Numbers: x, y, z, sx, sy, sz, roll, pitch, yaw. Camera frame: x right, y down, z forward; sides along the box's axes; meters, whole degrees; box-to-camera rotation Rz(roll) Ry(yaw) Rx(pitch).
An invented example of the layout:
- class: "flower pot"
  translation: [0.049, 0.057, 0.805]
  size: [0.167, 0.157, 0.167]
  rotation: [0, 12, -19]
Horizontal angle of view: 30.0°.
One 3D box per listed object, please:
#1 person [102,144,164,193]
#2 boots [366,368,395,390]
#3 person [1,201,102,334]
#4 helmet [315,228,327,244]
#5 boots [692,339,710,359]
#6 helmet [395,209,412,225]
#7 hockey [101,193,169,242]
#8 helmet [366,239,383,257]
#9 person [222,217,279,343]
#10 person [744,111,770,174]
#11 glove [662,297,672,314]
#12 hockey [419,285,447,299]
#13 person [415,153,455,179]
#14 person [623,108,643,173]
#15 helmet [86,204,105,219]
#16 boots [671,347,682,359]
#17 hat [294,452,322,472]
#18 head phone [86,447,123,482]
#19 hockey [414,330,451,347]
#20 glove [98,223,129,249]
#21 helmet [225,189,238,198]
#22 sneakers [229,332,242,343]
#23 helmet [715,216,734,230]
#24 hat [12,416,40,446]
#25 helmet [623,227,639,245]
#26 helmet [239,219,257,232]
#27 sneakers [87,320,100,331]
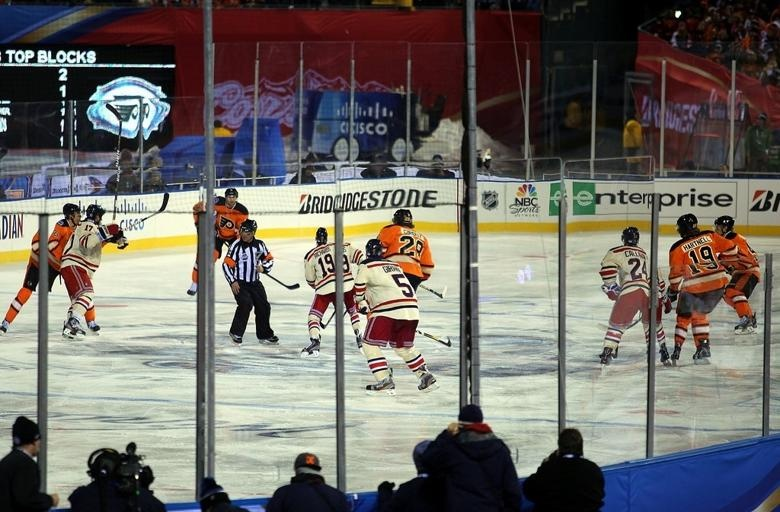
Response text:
- class: "person"
  translation: [-3.785, -1.230, 21.101]
  size: [1.082, 0.850, 0.242]
  rotation: [-2, -10, -3]
- class: "boots"
  translation: [-0.100, 1.495, 17.163]
  size: [0.199, 0.258, 0.452]
  rotation: [0, -2, 32]
- class: "person"
  translation: [-3.827, 0.153, 16.283]
  size: [0.854, 1.489, 0.869]
  rotation: [2, -2, -39]
- class: "helmet"
  translation: [-0.829, -0.221, 17.056]
  size: [0.150, 0.174, 0.188]
  rotation: [2, 7, -1]
- class: "boots"
  translation: [3.867, 1.185, 18.055]
  size: [0.212, 0.231, 0.226]
  rotation: [0, -2, 12]
- class: "helmet"
  translation: [0.139, -0.476, 18.376]
  size: [0.191, 0.196, 0.227]
  rotation: [-2, 14, -18]
- class: "hockey"
  translation: [-2.973, -0.406, 16.630]
  size: [0.669, 0.144, 0.593]
  rotation: [-4, 16, -10]
- class: "helmet"
  translation: [-0.219, -0.084, 17.611]
  size: [0.200, 0.200, 0.217]
  rotation: [2, 14, 5]
- class: "person"
  translation: [-1.639, 0.304, 16.891]
  size: [0.661, 1.449, 0.787]
  rotation: [1, -2, -5]
- class: "person"
  translation: [6.185, -1.888, 24.545]
  size: [0.483, 0.950, 0.126]
  rotation: [1, -2, -13]
- class: "glove"
  translation: [3.393, 0.617, 17.841]
  size: [0.153, 0.180, 0.071]
  rotation: [-2, 4, -12]
- class: "hockey"
  translation: [0.534, 0.470, 18.632]
  size: [0.253, 0.060, 0.244]
  rotation: [23, 8, 26]
- class: "person"
  translation: [0.699, -1.451, 23.458]
  size: [0.384, 0.406, 0.841]
  rotation: [-1, -2, 38]
- class: "person"
  translation: [4.108, -1.918, 24.673]
  size: [0.339, 1.181, 1.259]
  rotation: [0, -2, 9]
- class: "helmet"
  translation: [-3.438, -0.508, 16.731]
  size: [0.215, 0.141, 0.147]
  rotation: [-10, 14, -18]
- class: "boots"
  translation: [3.536, 1.219, 17.984]
  size: [0.085, 0.137, 0.116]
  rotation: [26, -21, -20]
- class: "hat"
  translation: [-0.867, 2.114, 14.815]
  size: [0.256, 0.126, 0.182]
  rotation: [5, -6, -26]
- class: "head phone"
  translation: [-2.912, 2.124, 14.692]
  size: [0.323, 0.282, 0.352]
  rotation: [0, -23, -14]
- class: "hockey"
  translation: [0.489, 1.044, 18.019]
  size: [0.423, 0.085, 0.091]
  rotation: [18, 20, -15]
- class: "glove"
  translation: [-3.174, -0.213, 16.546]
  size: [0.322, 0.270, 0.118]
  rotation: [3, -16, -20]
- class: "helmet"
  translation: [-2.174, -0.840, 19.687]
  size: [0.120, 0.116, 0.141]
  rotation: [-1, 9, -7]
- class: "sneakers"
  translation: [-1.769, 0.946, 16.499]
  size: [0.166, 0.070, 0.067]
  rotation: [30, 21, 20]
- class: "helmet"
  translation: [4.669, -0.454, 20.413]
  size: [0.252, 0.201, 0.188]
  rotation: [20, 11, 19]
- class: "hat"
  translation: [-3.776, 1.822, 14.962]
  size: [0.258, 0.249, 0.309]
  rotation: [1, 5, 1]
- class: "helmet"
  translation: [3.071, -0.241, 18.632]
  size: [0.212, 0.231, 0.246]
  rotation: [3, 14, 3]
- class: "helmet"
  translation: [-1.707, -0.346, 17.302]
  size: [0.178, 0.143, 0.132]
  rotation: [16, 7, 0]
- class: "sneakers"
  translation: [-3.344, 0.806, 16.249]
  size: [0.066, 0.072, 0.183]
  rotation: [-6, 14, -44]
